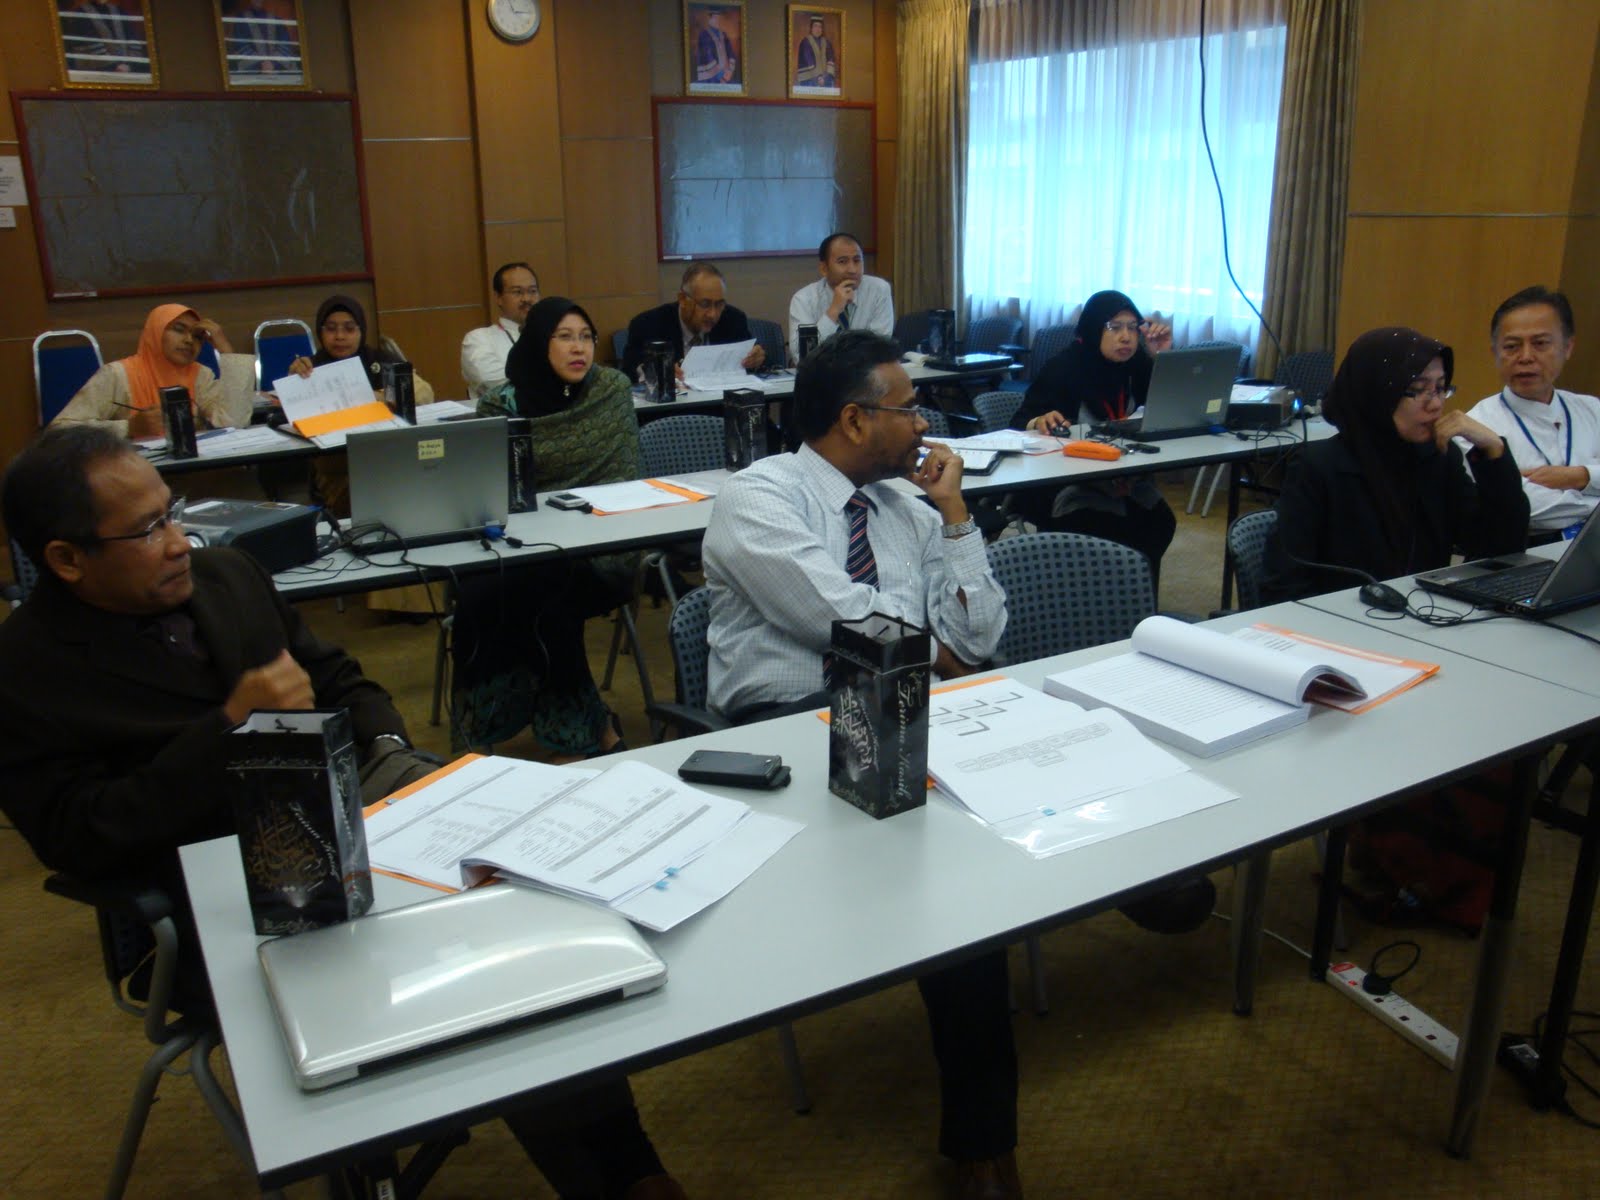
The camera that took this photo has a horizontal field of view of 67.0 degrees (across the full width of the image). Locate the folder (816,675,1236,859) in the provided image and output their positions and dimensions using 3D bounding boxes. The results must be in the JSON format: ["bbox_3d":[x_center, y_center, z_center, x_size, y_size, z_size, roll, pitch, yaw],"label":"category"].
[{"bbox_3d":[0.407,0.269,2.179,0.449,0.071,0.625,-9,14,-28],"label":"folder"}]

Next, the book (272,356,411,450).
[{"bbox_3d":[-1.719,-0.730,4.544,0.480,0.244,0.379,-25,40,-38],"label":"book"}]

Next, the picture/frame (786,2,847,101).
[{"bbox_3d":[0.090,-3.730,8.167,0.578,0.700,0.045,-11,16,-39],"label":"picture/frame"}]

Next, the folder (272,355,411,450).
[{"bbox_3d":[-1.727,-0.748,4.591,0.414,0.190,0.353,-19,37,-38],"label":"folder"}]

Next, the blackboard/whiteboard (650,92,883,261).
[{"bbox_3d":[-0.277,-2.826,8.111,1.590,1.021,0.105,-15,22,-30],"label":"blackboard/whiteboard"}]

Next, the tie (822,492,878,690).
[{"bbox_3d":[0.179,-0.057,2.729,0.094,0.337,0.236,9,7,40],"label":"tie"}]

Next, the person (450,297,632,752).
[{"bbox_3d":[-0.854,-0.261,4.074,0.587,1.446,0.692,-4,12,-20],"label":"person"}]

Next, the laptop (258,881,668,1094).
[{"bbox_3d":[-0.453,0.500,1.635,0.505,0.087,0.246,-9,21,-17],"label":"laptop"}]

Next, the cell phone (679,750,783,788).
[{"bbox_3d":[-0.115,0.271,2.046,0.128,0.038,0.073,3,10,12],"label":"cell phone"}]

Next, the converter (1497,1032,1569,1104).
[{"bbox_3d":[1.568,1.002,2.601,0.085,0.048,0.138,-7,20,-17],"label":"converter"}]

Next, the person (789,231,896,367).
[{"bbox_3d":[0.204,-1.552,7.128,0.699,1.135,0.485,-15,18,-37],"label":"person"}]

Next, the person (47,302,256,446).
[{"bbox_3d":[-2.705,-0.802,5.153,0.736,0.887,0.479,0,-5,-25],"label":"person"}]

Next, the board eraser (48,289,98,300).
[{"bbox_3d":[-3.671,-1.544,6.127,0.202,0.053,0.030,-16,23,-33],"label":"board eraser"}]

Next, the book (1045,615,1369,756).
[{"bbox_3d":[0.742,0.098,2.459,0.594,0.206,0.665,-1,15,-28],"label":"book"}]

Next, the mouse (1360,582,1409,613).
[{"bbox_3d":[1.332,-0.008,2.757,0.048,0.033,0.088,-1,17,-9],"label":"mouse"}]

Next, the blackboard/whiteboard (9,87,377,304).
[{"bbox_3d":[-3.124,-2.134,6.344,1.602,0.987,0.125,-13,21,-28],"label":"blackboard/whiteboard"}]

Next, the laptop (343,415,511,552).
[{"bbox_3d":[-1.053,-0.372,3.421,0.502,0.391,0.357,-7,17,-31],"label":"laptop"}]

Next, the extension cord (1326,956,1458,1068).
[{"bbox_3d":[1.355,0.937,2.781,0.089,0.036,0.321,-6,20,-21],"label":"extension cord"}]

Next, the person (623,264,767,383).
[{"bbox_3d":[-0.609,-1.491,6.498,0.830,0.721,0.653,-8,25,-29],"label":"person"}]

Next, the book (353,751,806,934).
[{"bbox_3d":[-0.327,0.381,1.847,0.615,0.039,0.421,9,19,31],"label":"book"}]

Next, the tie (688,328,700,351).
[{"bbox_3d":[-0.566,-1.409,6.538,0.076,0.142,0.127,-1,10,-8],"label":"tie"}]
